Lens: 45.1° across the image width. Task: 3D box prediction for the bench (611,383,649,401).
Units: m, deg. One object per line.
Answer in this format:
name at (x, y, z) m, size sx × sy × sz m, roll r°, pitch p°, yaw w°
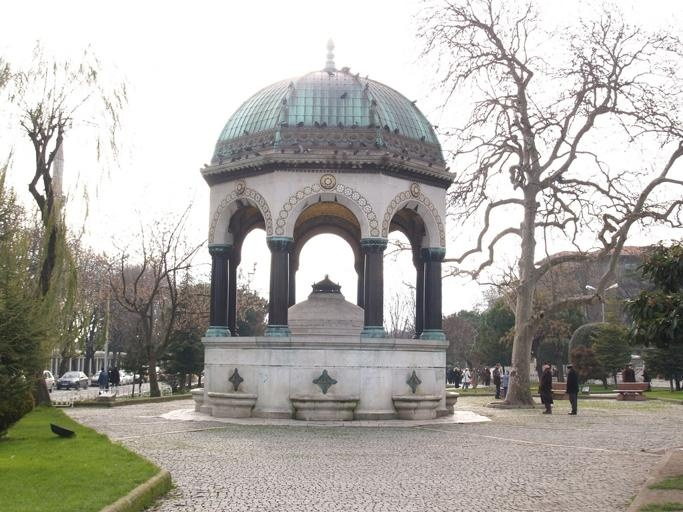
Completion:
bench at (13.288, 6.203, 37.672) m, size 1.248 × 0.824 × 1.521 m, roll -5°, pitch -12°, yaw 20°
